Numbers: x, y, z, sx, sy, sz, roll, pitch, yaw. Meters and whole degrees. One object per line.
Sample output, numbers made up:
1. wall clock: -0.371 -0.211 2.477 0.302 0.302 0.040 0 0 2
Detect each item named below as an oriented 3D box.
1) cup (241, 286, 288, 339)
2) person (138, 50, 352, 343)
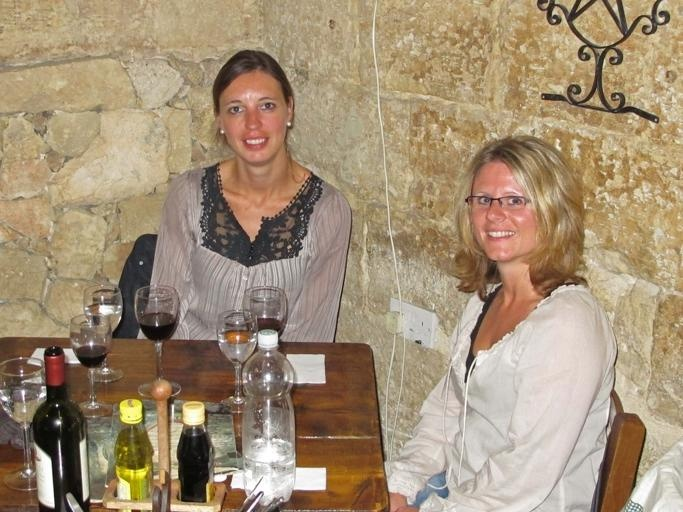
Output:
1. cup: -0.227 0.165 2.193 0.132 0.159 0.130 0 3 0
2. person: -0.354 -0.133 2.789 0.748 1.254 0.745 1 21 -10
